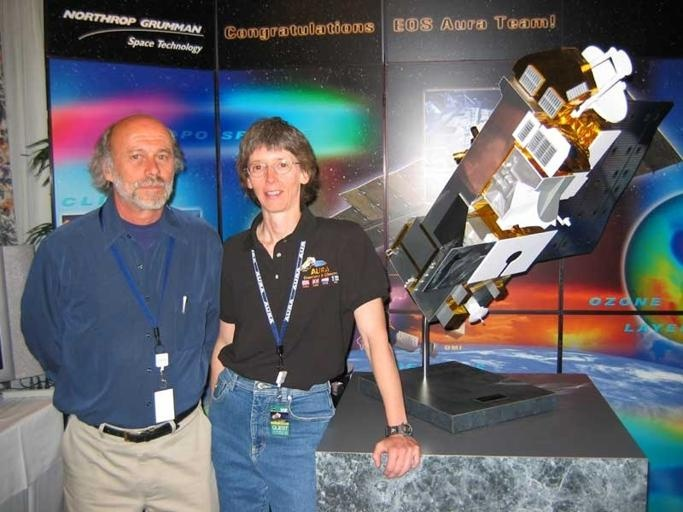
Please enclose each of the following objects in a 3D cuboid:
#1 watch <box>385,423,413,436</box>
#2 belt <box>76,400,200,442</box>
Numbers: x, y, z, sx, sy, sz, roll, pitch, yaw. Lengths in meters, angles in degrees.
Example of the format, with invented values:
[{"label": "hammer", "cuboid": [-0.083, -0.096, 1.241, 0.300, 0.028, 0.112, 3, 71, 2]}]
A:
[{"label": "watch", "cuboid": [0.226, 0.675, 2.056, 0.077, 0.051, 0.082, -1, -16, -10]}, {"label": "belt", "cuboid": [-0.939, 0.793, 2.498, 0.514, 0.127, 0.139, -1, 8, -15]}]
